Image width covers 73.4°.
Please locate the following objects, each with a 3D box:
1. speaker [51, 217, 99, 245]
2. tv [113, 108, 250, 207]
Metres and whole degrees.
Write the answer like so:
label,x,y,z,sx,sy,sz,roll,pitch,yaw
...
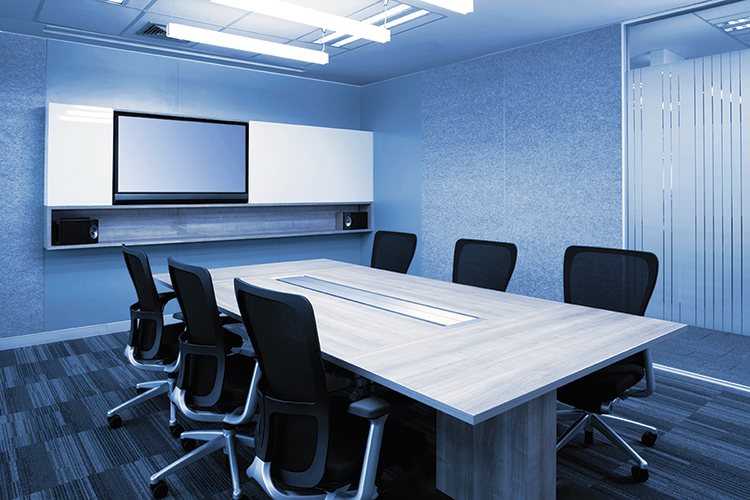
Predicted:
label,x,y,z,sx,sy,sz,roll,pitch,yaw
speaker,-3.478,-0.205,5.843,0.524,0.312,0.302,-2,2,-43
tv,-2.547,-1.183,6.456,1.483,0.925,0.138,-2,8,-33
